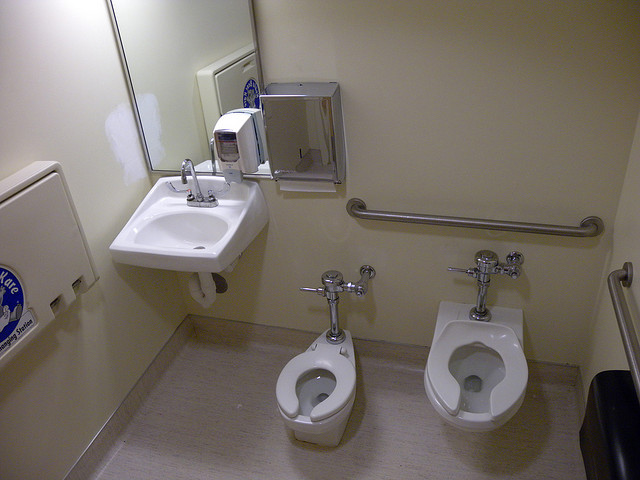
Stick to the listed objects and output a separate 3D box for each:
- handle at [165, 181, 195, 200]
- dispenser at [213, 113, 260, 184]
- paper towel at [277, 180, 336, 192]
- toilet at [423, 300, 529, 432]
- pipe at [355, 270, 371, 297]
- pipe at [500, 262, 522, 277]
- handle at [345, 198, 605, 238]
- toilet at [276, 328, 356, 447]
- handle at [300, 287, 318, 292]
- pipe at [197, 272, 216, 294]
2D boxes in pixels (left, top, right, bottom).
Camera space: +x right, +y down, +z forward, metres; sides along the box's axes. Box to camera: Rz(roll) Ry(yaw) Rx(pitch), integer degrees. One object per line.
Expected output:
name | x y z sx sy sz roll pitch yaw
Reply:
handle | -0.731 -0.262 2.565 0.097 0.101 0.031 -9 34 9
dispenser | -0.404 -0.462 2.404 0.203 0.344 0.219 -4 33 -5
paper towel | -0.063 -0.269 2.466 0.284 0.071 0.055 0 59 2
toilet | 0.753 0.594 2.352 0.395 0.263 0.629 4 50 15
pipe | 0.221 0.226 2.567 0.070 0.056 0.139 20 34 7
pipe | 0.914 0.131 2.349 0.102 0.047 0.050 1 24 2
handle | 0.707 -0.100 2.350 1.203 0.116 0.069 6 24 13
toilet | -0.011 0.727 2.424 0.366 0.466 0.394 8 31 10
handle | -0.055 0.264 2.596 0.112 0.023 0.026 5 -8 37
pipe | -0.598 0.224 2.564 0.045 0.146 0.047 -13 44 -7
